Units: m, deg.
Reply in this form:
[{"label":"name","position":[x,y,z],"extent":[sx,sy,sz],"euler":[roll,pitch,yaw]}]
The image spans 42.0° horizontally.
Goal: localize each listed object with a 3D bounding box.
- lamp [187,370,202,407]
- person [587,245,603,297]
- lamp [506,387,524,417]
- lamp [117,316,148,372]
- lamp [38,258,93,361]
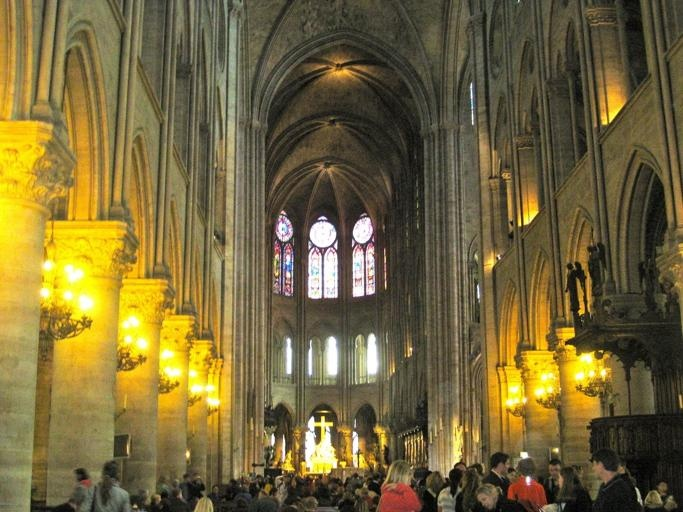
[{"label":"lamp","position":[-4.097,3.709,25.012],"extent":[0.388,1.113,0.982],"euler":[2,-20,-9]},{"label":"person","position":[5.535,0.235,19.337],"extent":[0.324,1.099,0.981],"euler":[-6,-20,16]},{"label":"lamp","position":[5.292,4.417,27.218],"extent":[0.480,1.081,1.693],"euler":[-3,-20,7]},{"label":"lamp","position":[-4.279,1.728,18.345],"extent":[0.614,1.282,0.897],"euler":[4,-19,-13]},{"label":"lamp","position":[-4.698,0.822,15.251],"extent":[0.792,1.297,0.892],"euler":[5,20,-5]}]
